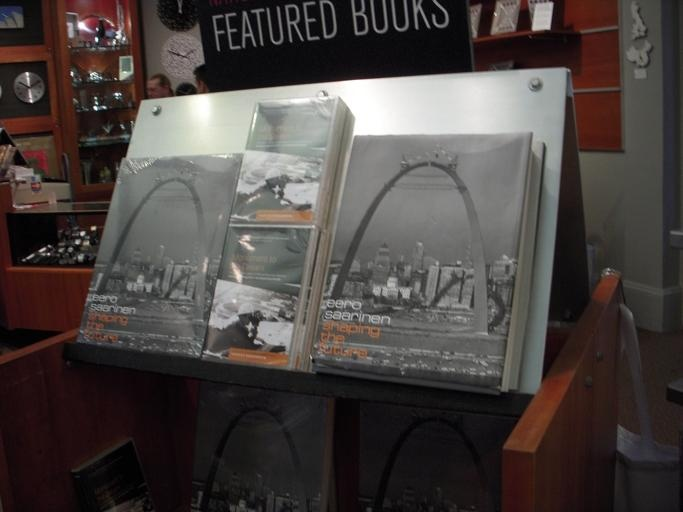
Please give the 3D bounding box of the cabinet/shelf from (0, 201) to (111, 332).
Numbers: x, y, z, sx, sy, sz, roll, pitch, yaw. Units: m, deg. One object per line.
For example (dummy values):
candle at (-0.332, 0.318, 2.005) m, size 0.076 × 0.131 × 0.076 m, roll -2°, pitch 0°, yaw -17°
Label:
cabinet/shelf at (-1.811, 0.086, 3.190) m, size 0.777 × 0.875 × 0.578 m, roll 1°, pitch 2°, yaw 12°

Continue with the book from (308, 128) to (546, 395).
book at (0.193, 0.032, 1.087) m, size 0.486 × 0.668 × 0.103 m, roll 4°, pitch -16°, yaw 27°

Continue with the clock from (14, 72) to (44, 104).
clock at (-3.597, -1.947, 5.903) m, size 0.033 × 0.361 × 0.323 m, roll 8°, pitch 11°, yaw 43°
